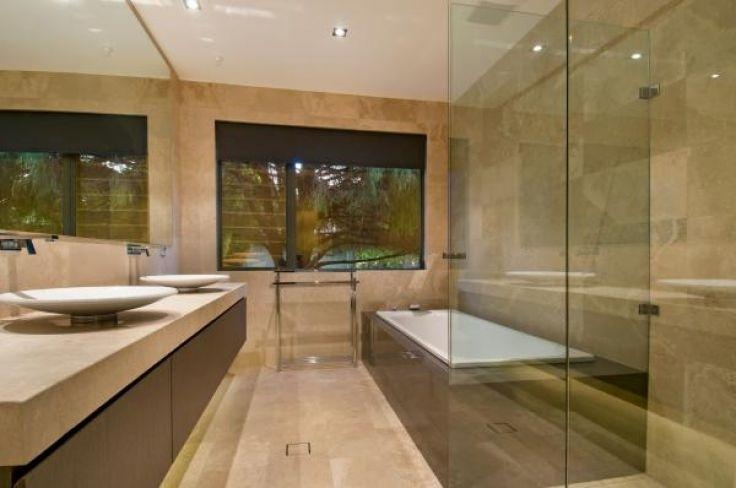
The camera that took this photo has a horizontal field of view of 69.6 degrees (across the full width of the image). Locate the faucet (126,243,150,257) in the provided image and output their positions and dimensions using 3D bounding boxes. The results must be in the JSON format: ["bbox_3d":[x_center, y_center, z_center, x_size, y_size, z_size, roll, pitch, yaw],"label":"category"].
[{"bbox_3d":[-1.361,0.033,3.138,0.133,0.066,0.072,2,-2,-32],"label":"faucet"}]
